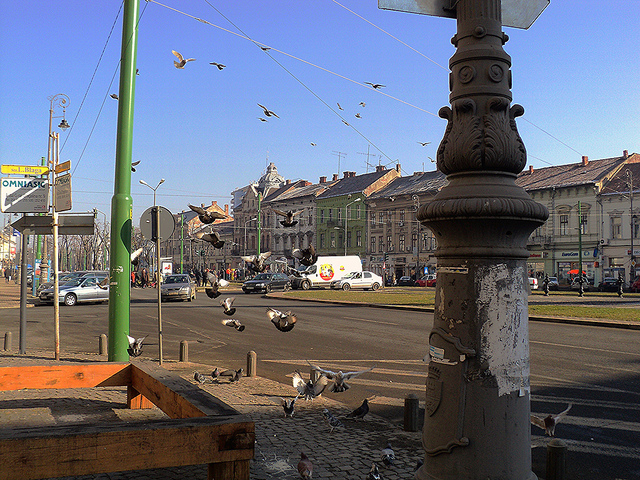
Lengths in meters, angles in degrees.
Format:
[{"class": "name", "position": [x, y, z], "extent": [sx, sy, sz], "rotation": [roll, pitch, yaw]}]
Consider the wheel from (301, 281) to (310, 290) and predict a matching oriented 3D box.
[{"class": "wheel", "position": [-0.980, 2.953, 50.522], "extent": [0.468, 0.528, 0.189], "rotation": [-6, 6, -16]}]

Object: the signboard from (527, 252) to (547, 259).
[{"class": "signboard", "position": [17.670, 1.340, 63.646], "extent": [0.562, 0.561, 1.613], "rotation": [1, -3, -21]}]

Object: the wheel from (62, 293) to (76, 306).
[{"class": "wheel", "position": [-9.772, 2.341, 30.619], "extent": [0.255, 0.464, 0.528], "rotation": [-2, -3, 33]}]

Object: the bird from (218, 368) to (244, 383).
[{"class": "bird", "position": [-1.398, 2.178, 12.654], "extent": [0.222, 0.205, 0.309], "rotation": [0, 4, 36]}]

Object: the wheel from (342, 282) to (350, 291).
[{"class": "wheel", "position": [1.598, 3.017, 50.059], "extent": [0.452, 0.503, 0.165], "rotation": [-2, 2, -33]}]

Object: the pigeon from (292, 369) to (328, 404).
[{"class": "pigeon", "position": [-0.143, 1.969, 10.607], "extent": [0.431, 0.408, 0.356], "rotation": [0, -3, -6]}]

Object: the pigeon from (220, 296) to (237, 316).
[{"class": "pigeon", "position": [-1.303, 0.966, 11.273], "extent": [0.161, 0.234, 0.532], "rotation": [-29, -2, -13]}]

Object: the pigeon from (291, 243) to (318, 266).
[{"class": "pigeon", "position": [-0.199, 0.192, 9.965], "extent": [0.303, 0.231, 0.126], "rotation": [42, -9, -18]}]

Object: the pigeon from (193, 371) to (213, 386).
[{"class": "pigeon", "position": [-1.919, 2.231, 12.566], "extent": [0.419, 0.196, 0.140], "rotation": [2, 8, 44]}]

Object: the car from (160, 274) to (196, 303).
[{"class": "car", "position": [-6.244, 2.149, 34.623], "extent": [1.443, 1.145, 2.145], "rotation": [0, -3, -12]}]

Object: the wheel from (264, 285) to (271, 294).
[{"class": "wheel", "position": [-2.965, 2.798, 44.046], "extent": [0.137, 0.476, 0.446], "rotation": [4, 3, 11]}]

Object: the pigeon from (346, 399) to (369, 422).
[{"class": "pigeon", "position": [0.507, 2.272, 10.378], "extent": [0.261, 0.322, 0.446], "rotation": [0, -3, 0]}]

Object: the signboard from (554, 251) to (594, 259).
[{"class": "signboard", "position": [19.729, 1.229, 61.040], "extent": [0.199, 0.603, 3.480], "rotation": [2, -4, -37]}]

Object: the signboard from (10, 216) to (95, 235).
[{"class": "signboard", "position": [-5.130, -0.267, 15.227], "extent": [0.822, 0.441, 1.648], "rotation": [-2, -3, 23]}]

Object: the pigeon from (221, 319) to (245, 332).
[{"class": "pigeon", "position": [-1.241, 1.205, 11.118], "extent": [0.241, 0.138, 0.620], "rotation": [0, -3, -11]}]

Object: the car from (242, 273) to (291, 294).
[{"class": "car", "position": [-2.787, 2.558, 45.682], "extent": [1.231, 1.024, 2.871], "rotation": [-3, -7, 33]}]

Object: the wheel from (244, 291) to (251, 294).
[{"class": "wheel", "position": [-4.148, 3.067, 45.090], "extent": [0.336, 0.139, 0.910], "rotation": [0, -3, -7]}]

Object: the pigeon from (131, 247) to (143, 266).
[{"class": "pigeon", "position": [-3.050, 0.284, 13.045], "extent": [0.222, 0.183, 0.653], "rotation": [-9, -10, -16]}]

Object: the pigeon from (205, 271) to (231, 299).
[{"class": "pigeon", "position": [-1.449, 0.674, 11.030], "extent": [0.349, 0.368, 0.163], "rotation": [25, 9, 37]}]

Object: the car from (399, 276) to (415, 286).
[{"class": "car", "position": [7.765, 3.739, 70.216], "extent": [1.332, 0.843, 2.979], "rotation": [-1, -3, 6]}]

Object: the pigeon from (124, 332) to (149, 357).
[{"class": "pigeon", "position": [-2.878, 1.695, 12.352], "extent": [0.439, 0.302, 0.436], "rotation": [4, -1, -21]}]

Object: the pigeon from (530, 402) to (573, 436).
[{"class": "pigeon", "position": [2.462, 1.938, 8.447], "extent": [0.503, 0.324, 0.320], "rotation": [-2, 9, 13]}]

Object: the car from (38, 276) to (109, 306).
[{"class": "car", "position": [-9.027, 1.974, 29.033], "extent": [1.509, 1.267, 3.589], "rotation": [-4, -6, 39]}]

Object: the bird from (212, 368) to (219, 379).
[{"class": "bird", "position": [-1.709, 2.201, 12.829], "extent": [0.096, 0.153, 0.047], "rotation": [1, -9, -12]}]

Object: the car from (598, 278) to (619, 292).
[{"class": "car", "position": [19.788, 3.128, 53.844], "extent": [1.171, 0.880, 3.716], "rotation": [-1, -3, 20]}]

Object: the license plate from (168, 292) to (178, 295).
[{"class": "license plate", "position": [-6.305, 2.324, 33.549], "extent": [0.390, 0.082, 0.122], "rotation": [-1, -3, 8]}]

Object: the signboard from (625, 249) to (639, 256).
[{"class": "signboard", "position": [22.792, 0.980, 57.369], "extent": [0.708, 0.417, 0.478], "rotation": [11, 36, 21]}]

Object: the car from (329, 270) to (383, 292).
[{"class": "car", "position": [2.455, 2.761, 51.441], "extent": [2.999, 1.129, 1.381], "rotation": [4, -6, -36]}]

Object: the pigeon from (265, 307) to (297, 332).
[{"class": "pigeon", "position": [-0.505, 1.071, 10.470], "extent": [0.417, 0.351, 0.285], "rotation": [6, -4, 0]}]

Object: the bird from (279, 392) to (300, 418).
[{"class": "bird", "position": [-0.411, 2.210, 10.536], "extent": [0.263, 0.356, 0.270], "rotation": [5, -15, -20]}]

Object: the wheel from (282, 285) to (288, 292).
[{"class": "wheel", "position": [-2.041, 2.896, 46.106], "extent": [0.296, 0.306, 0.296], "rotation": [5, 5, 0]}]

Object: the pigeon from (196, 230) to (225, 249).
[{"class": "pigeon", "position": [-1.339, 0.003, 9.699], "extent": [0.331, 0.223, 0.548], "rotation": [1, -3, -16]}]

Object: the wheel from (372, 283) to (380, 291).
[{"class": "wheel", "position": [3.697, 3.170, 52.545], "extent": [0.143, 0.451, 0.410], "rotation": [3, 5, 45]}]

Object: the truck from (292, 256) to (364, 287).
[{"class": "truck", "position": [0.714, 1.918, 52.019], "extent": [4.754, 2.115, 2.044], "rotation": [2, -4, -34]}]

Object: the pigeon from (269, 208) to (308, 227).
[{"class": "pigeon", "position": [-0.414, -0.246, 10.049], "extent": [0.342, 0.205, 0.147], "rotation": [1, -24, -3]}]

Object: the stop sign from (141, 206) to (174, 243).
[{"class": "stop sign", "position": [-2.769, -0.249, 13.366], "extent": [0.553, 0.628, 0.069], "rotation": [1, 9, 5]}]

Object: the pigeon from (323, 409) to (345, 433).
[{"class": "pigeon", "position": [0.162, 2.332, 10.120], "extent": [0.246, 0.261, 0.549], "rotation": [0, -3, 0]}]

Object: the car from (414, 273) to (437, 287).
[{"class": "car", "position": [8.584, 3.401, 64.047], "extent": [1.401, 0.979, 5.407], "rotation": [-1, -3, 5]}]

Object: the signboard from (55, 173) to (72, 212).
[{"class": "signboard", "position": [-4.377, -0.784, 13.322], "extent": [0.164, 0.644, 0.574], "rotation": [1, -3, -32]}]
